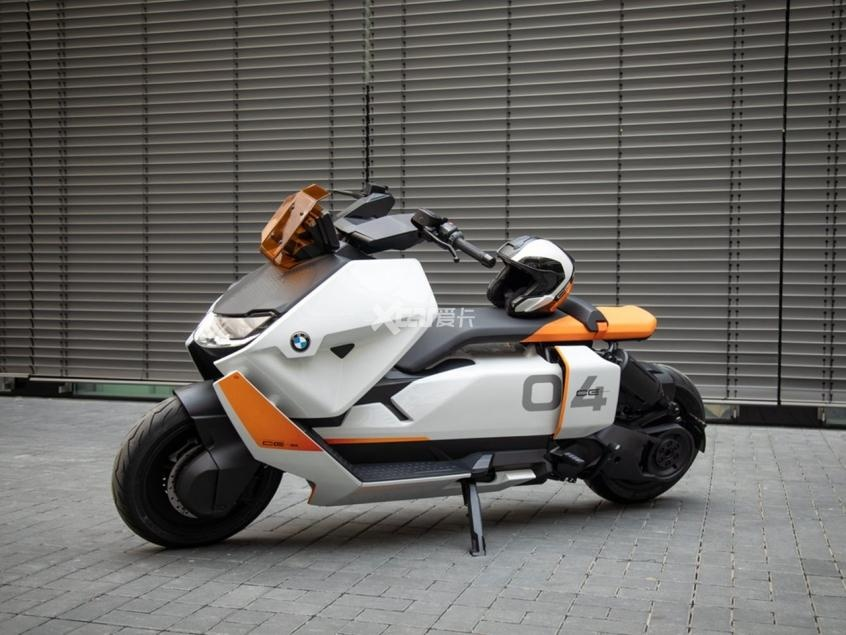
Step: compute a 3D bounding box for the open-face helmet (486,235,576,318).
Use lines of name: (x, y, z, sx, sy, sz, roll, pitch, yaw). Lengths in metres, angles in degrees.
open-face helmet: (0.706, -0.255, 4.275, 0.597, 0.310, 0.364, -11, 27, -16)

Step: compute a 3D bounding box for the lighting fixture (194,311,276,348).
lighting fixture: (-1.031, 0.061, 3.731, 0.388, 0.083, 0.231, -7, 8, -23)
